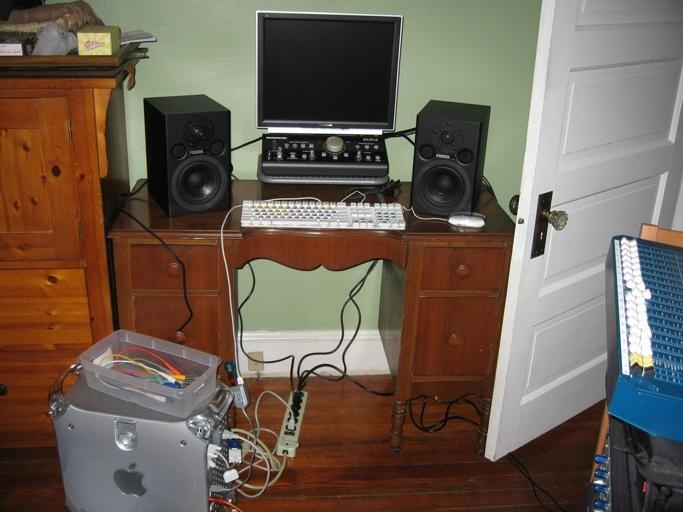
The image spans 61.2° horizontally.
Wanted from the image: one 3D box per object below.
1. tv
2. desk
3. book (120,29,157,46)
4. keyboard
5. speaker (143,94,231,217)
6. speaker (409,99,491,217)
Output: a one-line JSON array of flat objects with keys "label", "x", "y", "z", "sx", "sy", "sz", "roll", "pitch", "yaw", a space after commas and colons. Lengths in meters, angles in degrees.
[{"label": "tv", "x": -0.073, "y": -0.768, "z": 2.444, "sx": 0.606, "sy": 0.472, "sz": 0.034, "roll": 0, "pitch": 30, "yaw": -6}, {"label": "desk", "x": -0.103, "y": 0.247, "z": 2.646, "sx": 1.570, "sy": 1.119, "sz": 0.592, "roll": 1, "pitch": 31, "yaw": 0}, {"label": "book", "x": -0.842, "y": -0.891, "z": 2.352, "sx": 0.141, "sy": 0.056, "sz": 0.256, "roll": -7, "pitch": 23, "yaw": -16}, {"label": "keyboard", "x": -0.077, "y": -0.166, "z": 2.291, "sx": 0.653, "sy": 0.092, "sz": 0.220, "roll": -1, "pitch": 21, "yaw": 1}, {"label": "speaker", "x": -0.658, "y": -0.436, "z": 2.376, "sx": 0.250, "sy": 0.422, "sz": 0.400, "roll": -10, "pitch": 29, "yaw": -30}, {"label": "speaker", "x": 0.448, "y": -0.399, "z": 2.381, "sx": 0.280, "sy": 0.412, "sz": 0.303, "roll": 5, "pitch": 21, "yaw": 16}]
